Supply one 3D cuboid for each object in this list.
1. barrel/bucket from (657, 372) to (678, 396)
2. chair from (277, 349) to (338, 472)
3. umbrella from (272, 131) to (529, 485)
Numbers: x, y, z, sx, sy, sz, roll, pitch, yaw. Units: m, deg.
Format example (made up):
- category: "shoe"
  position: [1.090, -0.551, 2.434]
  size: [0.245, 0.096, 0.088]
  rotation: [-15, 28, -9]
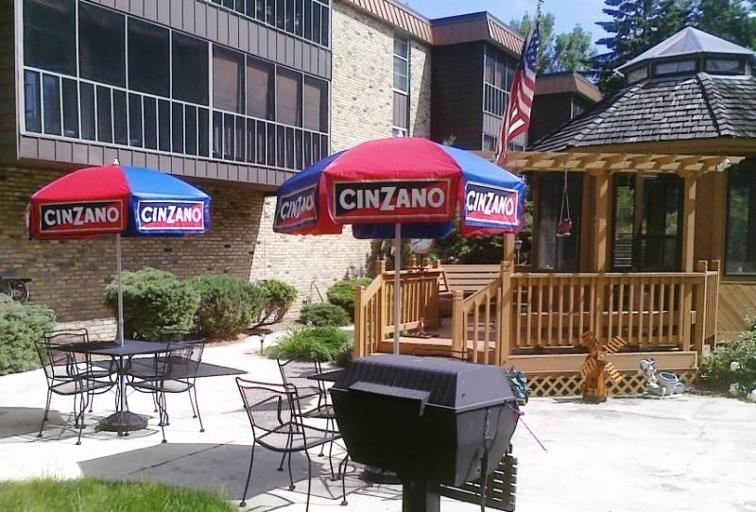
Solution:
- category: "barrel/bucket"
  position: [5.931, 2.634, 18.378]
  size: [0.368, 0.442, 0.441]
  rotation: [-1, 1, -5]
- category: "chair"
  position: [-1.229, 2.841, 15.970]
  size: [0.943, 2.001, 1.399]
  rotation: [8, 8, 25]
- category: "umbrella"
  position: [0.132, -0.392, 15.062]
  size: [2.710, 4.774, 4.009]
  rotation: [1, 6, 37]
